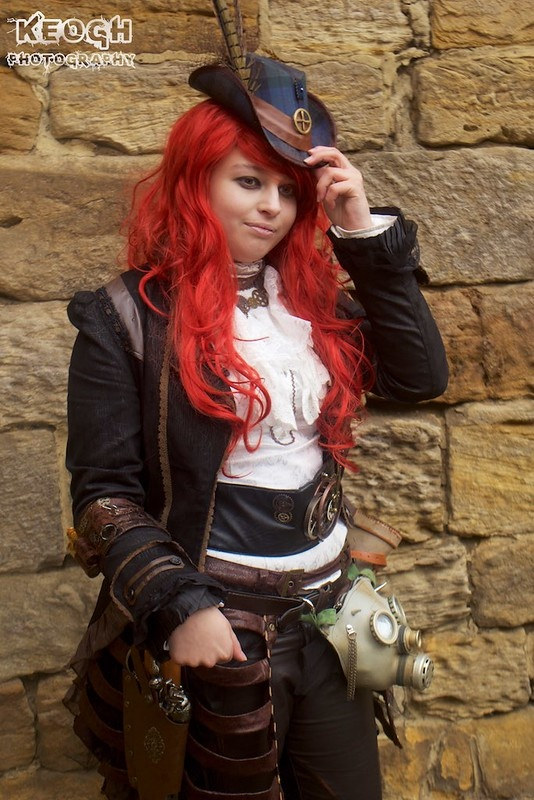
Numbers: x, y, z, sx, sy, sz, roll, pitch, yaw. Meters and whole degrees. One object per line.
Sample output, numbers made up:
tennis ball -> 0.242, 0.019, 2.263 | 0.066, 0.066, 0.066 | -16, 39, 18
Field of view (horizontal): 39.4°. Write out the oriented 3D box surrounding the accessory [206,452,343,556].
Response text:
accessory -> 0.050, 0.204, 1.460 | 0.163, 0.145, 0.354 | 18, 15, 34

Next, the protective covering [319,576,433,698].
protective covering -> 0.207, 0.455, 1.501 | 0.225, 0.200, 0.187 | 1, 17, 17

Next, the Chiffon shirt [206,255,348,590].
Chiffon shirt -> 0.033, 0.047, 1.414 | 0.164, 0.482, 0.407 | 12, 12, 36

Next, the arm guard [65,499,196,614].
arm guard -> -0.221, 0.240, 1.231 | 0.163, 0.089, 0.211 | -36, 61, -17
